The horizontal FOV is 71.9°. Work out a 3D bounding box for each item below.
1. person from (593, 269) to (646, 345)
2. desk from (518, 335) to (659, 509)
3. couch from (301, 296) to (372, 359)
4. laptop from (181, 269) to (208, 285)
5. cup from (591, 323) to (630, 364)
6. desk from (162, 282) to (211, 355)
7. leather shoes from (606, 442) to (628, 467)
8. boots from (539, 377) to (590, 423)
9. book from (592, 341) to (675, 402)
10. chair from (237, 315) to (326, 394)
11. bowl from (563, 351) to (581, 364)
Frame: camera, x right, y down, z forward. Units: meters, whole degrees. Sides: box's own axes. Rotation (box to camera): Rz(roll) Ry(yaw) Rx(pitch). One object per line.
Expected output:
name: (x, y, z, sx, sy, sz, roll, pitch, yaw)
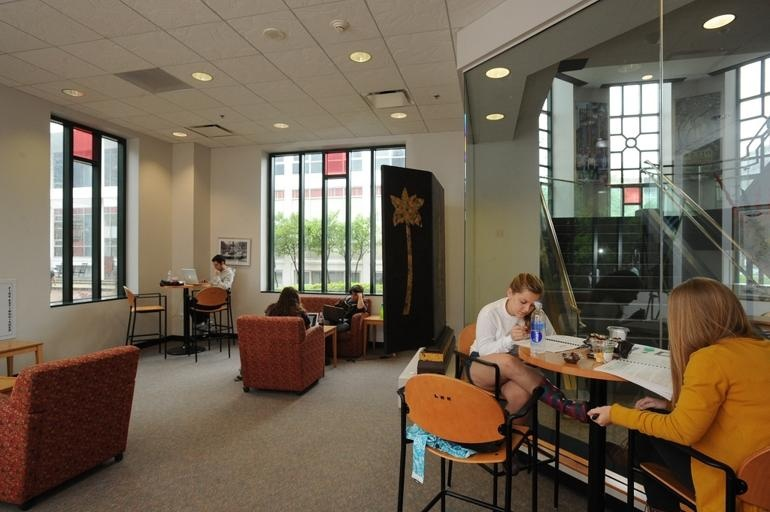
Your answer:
person: (2.166, 0.449, 5.031, 0.460, 0.800, 0.344, 2, 33, 22)
desk: (1.714, 1.409, 4.768, 1.142, 1.254, 1.149, 1, 2, 35)
couch: (-0.869, 1.232, 9.116, 1.573, 1.092, 0.864, -1, -4, 10)
laptop: (-3.283, 0.349, 9.154, 0.429, 0.302, 0.263, 5, 7, 29)
cup: (1.903, 0.748, 4.472, 0.320, 0.277, 0.222, 1, 0, 35)
desk: (-3.428, 1.004, 9.094, 0.598, 1.267, 1.412, -3, 10, -21)
leather shoes: (2.086, 1.789, 4.808, 0.168, 0.159, 0.293, 6, -7, 23)
boots: (1.492, 1.157, 4.426, 0.174, 0.233, 0.569, -27, 13, -22)
book: (1.981, 0.884, 4.211, 0.467, 0.058, 0.490, 10, 10, 25)
chair: (-1.425, 1.257, 7.300, 0.936, 1.072, 1.063, 1, 1, 13)
bowl: (1.516, 0.821, 4.316, 0.094, 0.051, 0.095, 0, -3, 0)
